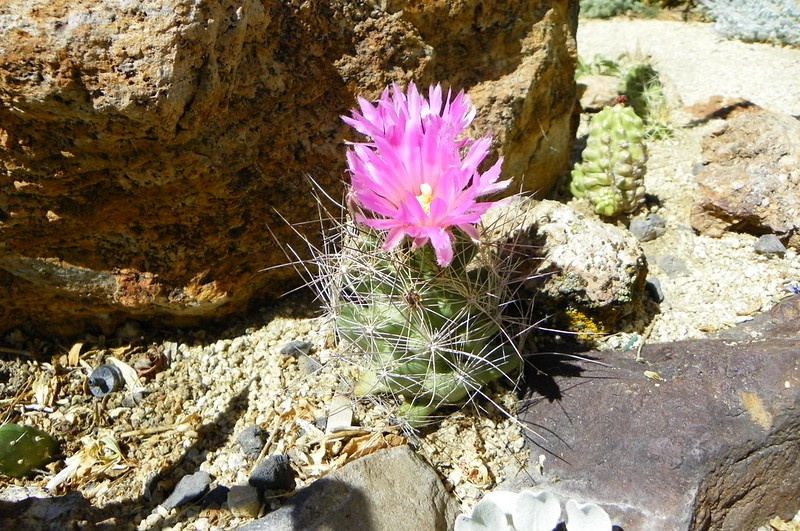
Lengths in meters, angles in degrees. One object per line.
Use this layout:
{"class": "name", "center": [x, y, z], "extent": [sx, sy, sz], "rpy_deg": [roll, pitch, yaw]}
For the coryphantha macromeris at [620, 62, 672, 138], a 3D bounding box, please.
{"class": "coryphantha macromeris", "center": [1.641, -1.086, 6.515], "extent": [0.288, 0.294, 0.745], "rpy_deg": [6, 44, 6]}
